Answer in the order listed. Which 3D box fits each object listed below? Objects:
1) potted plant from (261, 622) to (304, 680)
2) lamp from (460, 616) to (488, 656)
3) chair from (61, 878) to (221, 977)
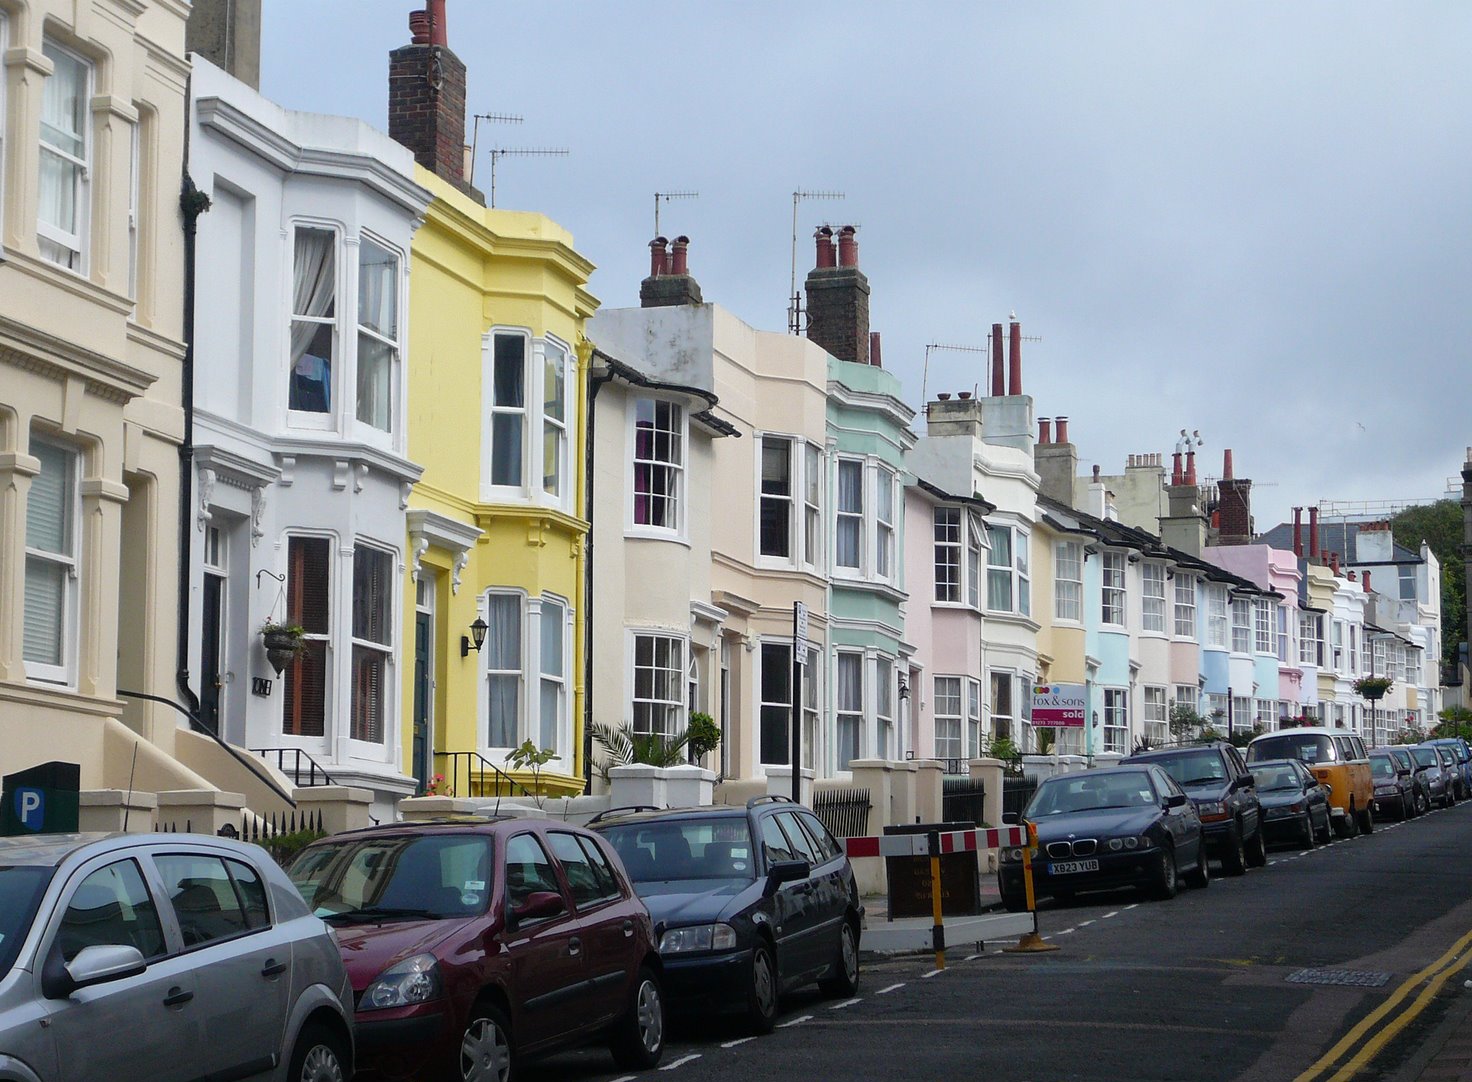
[{"bbox_3d":[-5.379,1.233,28.230,0.447,0.642,0.742,-2,-13,-7],"label":"potted plant"},{"bbox_3d":[-3.491,1.272,32.067,0.343,0.524,0.355,-14,-16,40],"label":"lamp"},{"bbox_3d":[-3.845,2.378,15.364,0.281,0.672,1.409,-9,-14,26],"label":"chair"}]
